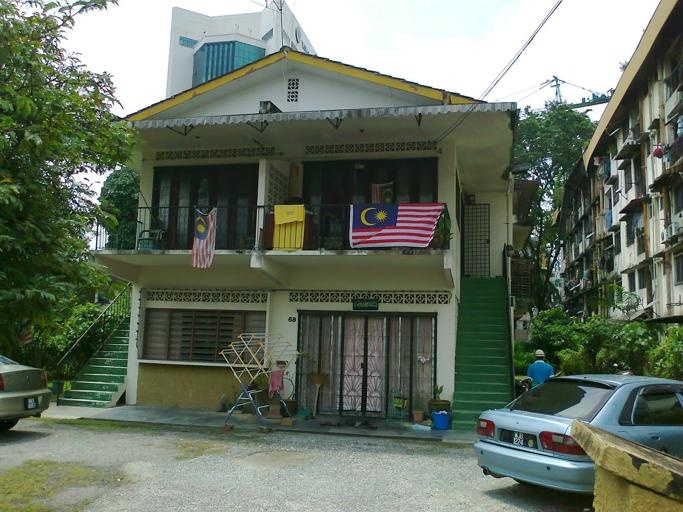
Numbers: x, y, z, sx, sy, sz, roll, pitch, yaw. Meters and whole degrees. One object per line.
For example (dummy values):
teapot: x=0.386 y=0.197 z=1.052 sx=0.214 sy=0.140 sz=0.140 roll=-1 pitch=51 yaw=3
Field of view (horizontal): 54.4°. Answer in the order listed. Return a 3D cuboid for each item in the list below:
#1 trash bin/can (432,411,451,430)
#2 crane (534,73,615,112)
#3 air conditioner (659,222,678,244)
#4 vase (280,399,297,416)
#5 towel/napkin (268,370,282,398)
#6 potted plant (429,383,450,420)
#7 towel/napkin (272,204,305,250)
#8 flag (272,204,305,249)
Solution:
trash bin/can: x=2.447 y=4.049 z=16.339 sx=0.373 sy=0.304 sz=0.381 roll=-2 pitch=-19 yaw=10
crane: x=14.715 y=-10.545 z=42.362 sx=5.343 sy=2.225 sz=0.913 roll=5 pitch=38 yaw=42
air conditioner: x=11.305 y=-0.788 z=22.906 sx=0.492 sy=0.587 sz=1.597 roll=1 pitch=-10 yaw=16
vase: x=-1.371 y=3.964 z=17.378 sx=0.366 sy=0.341 sz=0.383 roll=-4 pitch=-14 yaw=12
towel/napkin: x=-1.711 y=3.309 z=17.136 sx=0.138 sy=0.541 sz=0.740 roll=-2 pitch=-7 yaw=18
potted plant: x=2.471 y=3.679 z=16.895 sx=0.593 sy=0.789 sz=0.564 roll=0 pitch=-5 yaw=6
towel/napkin: x=-1.359 y=-0.779 z=17.400 sx=0.908 sy=1.280 sz=0.251 roll=1 pitch=5 yaw=13
flag: x=-1.362 y=-0.776 z=17.409 sx=0.888 sy=1.258 sz=0.251 roll=1 pitch=6 yaw=7
